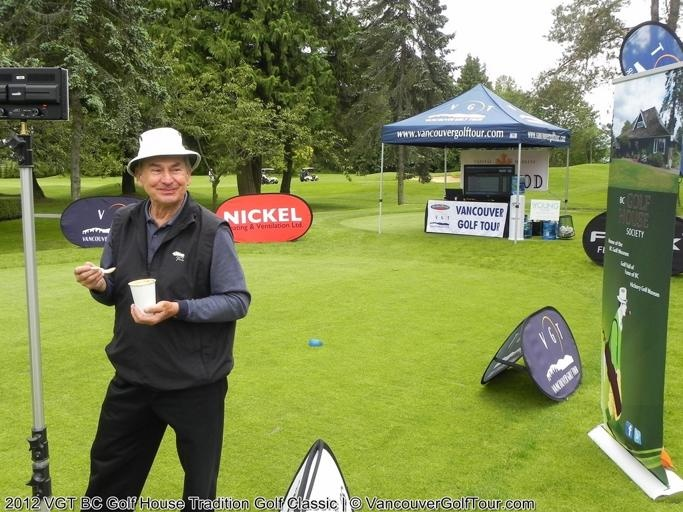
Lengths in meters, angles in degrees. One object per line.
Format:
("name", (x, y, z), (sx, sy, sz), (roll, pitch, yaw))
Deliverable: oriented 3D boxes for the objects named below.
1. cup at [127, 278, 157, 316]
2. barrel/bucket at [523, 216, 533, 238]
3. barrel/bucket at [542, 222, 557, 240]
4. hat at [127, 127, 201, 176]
("cup", (-1.350, 0.268, 4.535), (0.188, 0.183, 0.186), (-10, -2, 0))
("barrel/bucket", (5.205, -0.773, 18.648), (0.243, 0.449, 0.749), (4, 13, 15))
("barrel/bucket", (5.621, -0.691, 17.922), (0.421, 0.457, 0.377), (0, 13, 1))
("hat", (-1.330, -0.800, 4.912), (0.446, 0.225, 0.393), (-14, -5, 12))
